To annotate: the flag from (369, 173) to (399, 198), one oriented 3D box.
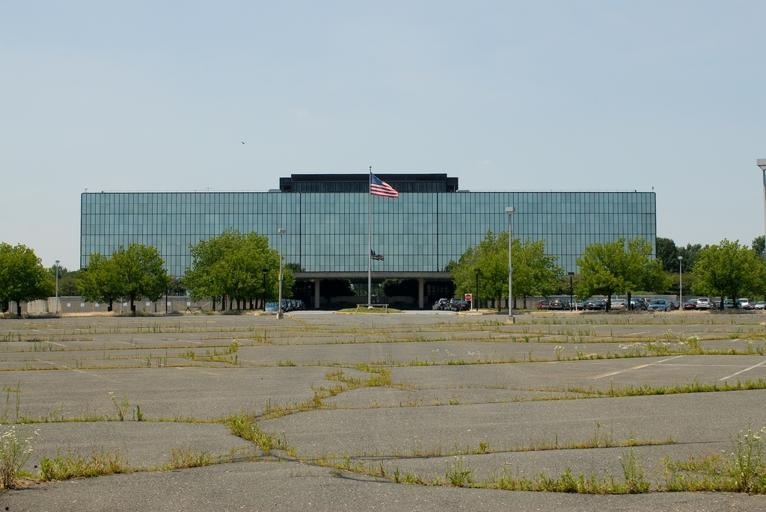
[{"bbox_3d":[0.028,-6.342,108.957,1.945,2.002,4.405,-1,-5,8],"label":"flag"}]
